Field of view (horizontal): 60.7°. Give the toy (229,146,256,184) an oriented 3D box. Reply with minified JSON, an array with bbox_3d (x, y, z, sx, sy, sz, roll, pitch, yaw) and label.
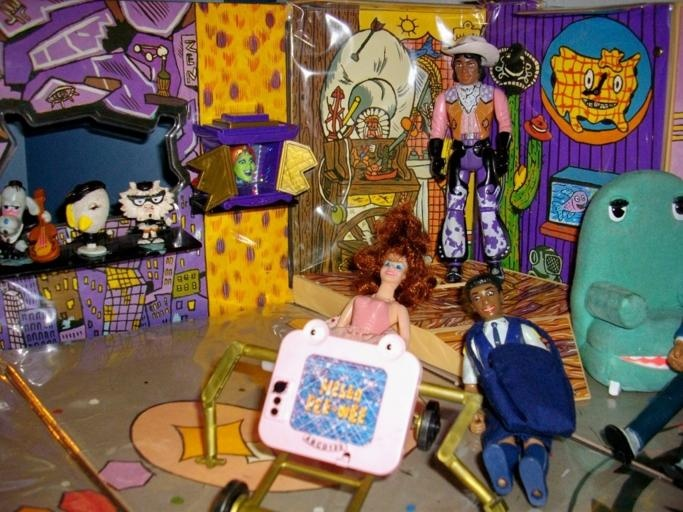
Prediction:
[{"bbox_3d":[-0.762,-0.732,4.613,0.217,0.316,0.212,-14,27,-35],"label":"toy"}]

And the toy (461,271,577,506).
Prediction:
[{"bbox_3d":[1.098,0.792,3.642,0.586,1.333,0.527,-12,-29,17],"label":"toy"}]

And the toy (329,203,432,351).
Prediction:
[{"bbox_3d":[0.324,0.125,4.179,0.614,0.913,1.169,4,15,17],"label":"toy"}]
